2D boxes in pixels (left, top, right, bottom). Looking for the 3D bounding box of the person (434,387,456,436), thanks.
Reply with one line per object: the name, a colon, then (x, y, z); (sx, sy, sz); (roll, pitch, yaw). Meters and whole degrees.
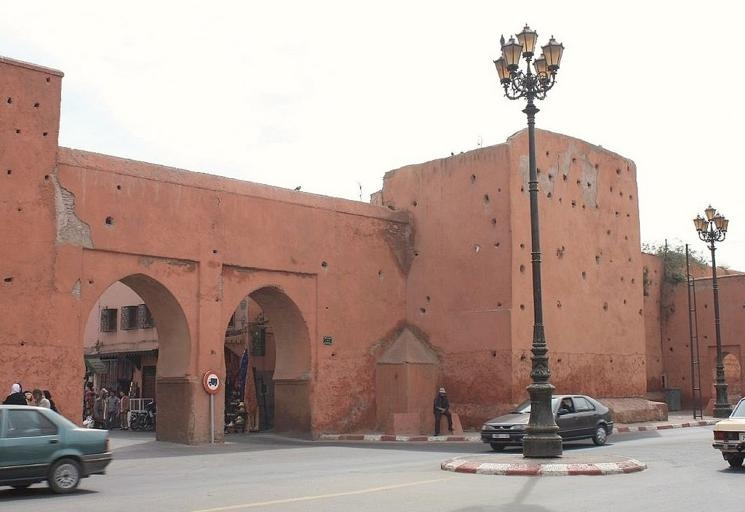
person: (2.392, 5.252, 32.056); (0.626, 1.722, 1.591); (-3, -15, 3)
